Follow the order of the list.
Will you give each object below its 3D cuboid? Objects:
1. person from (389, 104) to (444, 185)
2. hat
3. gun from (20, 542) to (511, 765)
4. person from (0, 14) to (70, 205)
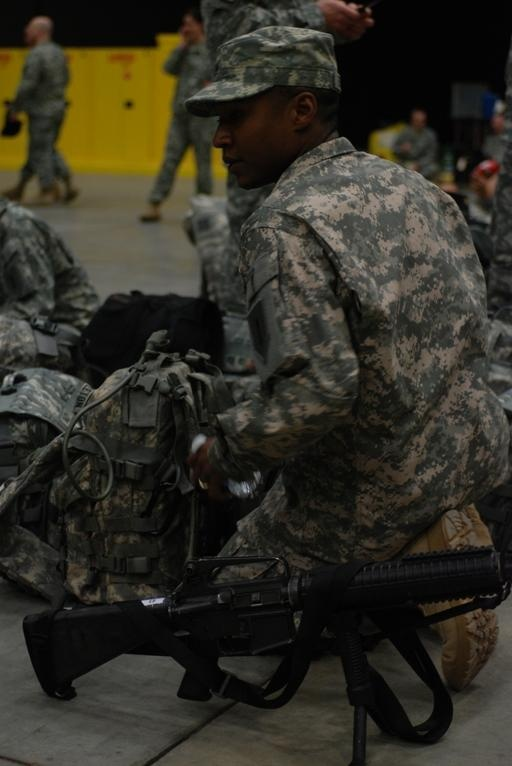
[{"bbox_3d":[2.902,-4.292,15.959,1.044,1.191,1.021,20,34,35],"label":"person"},{"bbox_3d":[0.012,-0.648,1.813,0.302,0.113,0.184,-3,3,-6],"label":"hat"},{"bbox_3d":[0.004,0.572,1.931,1.281,0.422,0.380,-9,-4,16],"label":"gun"},{"bbox_3d":[-0.826,-1.020,3.278,0.259,0.651,0.363,-1,7,-9],"label":"person"}]
